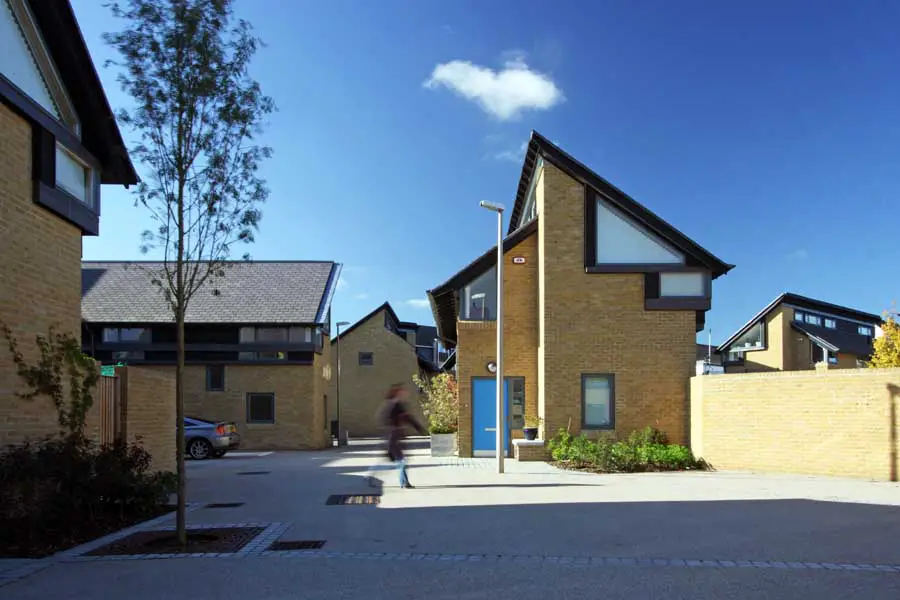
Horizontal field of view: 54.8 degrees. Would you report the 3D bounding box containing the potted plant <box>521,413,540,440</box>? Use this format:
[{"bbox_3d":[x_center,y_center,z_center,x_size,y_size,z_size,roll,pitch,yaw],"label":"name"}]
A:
[{"bbox_3d":[2.463,3.778,26.103,0.467,0.858,0.687,-1,-13,3],"label":"potted plant"}]
